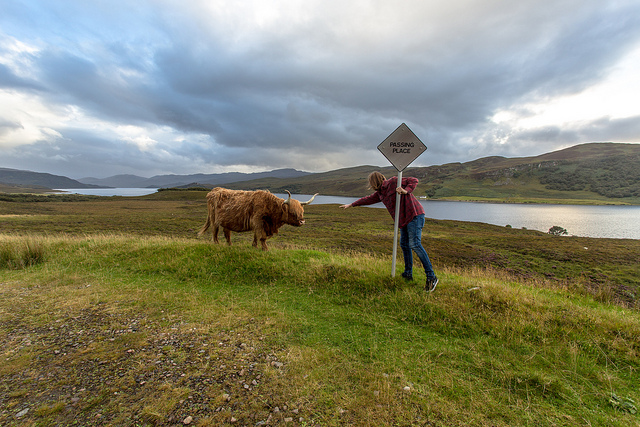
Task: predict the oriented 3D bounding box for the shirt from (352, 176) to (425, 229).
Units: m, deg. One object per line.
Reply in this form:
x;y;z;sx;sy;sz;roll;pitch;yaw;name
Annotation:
2.502;-0.477;10.679;1.911;1.141;2.229;17;-25;-40;shirt

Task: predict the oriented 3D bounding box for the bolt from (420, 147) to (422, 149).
3.211;-2.091;10.121;0.049;0.012;0.046;-36;25;-11;bolt

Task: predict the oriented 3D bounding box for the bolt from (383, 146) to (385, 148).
2.079;-2.151;10.356;0.053;0.092;0.052;0;-10;-12;bolt

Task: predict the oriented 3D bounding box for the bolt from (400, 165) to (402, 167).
2.606;-1.536;10.267;0.061;0.014;0.056;20;-18;-39;bolt
